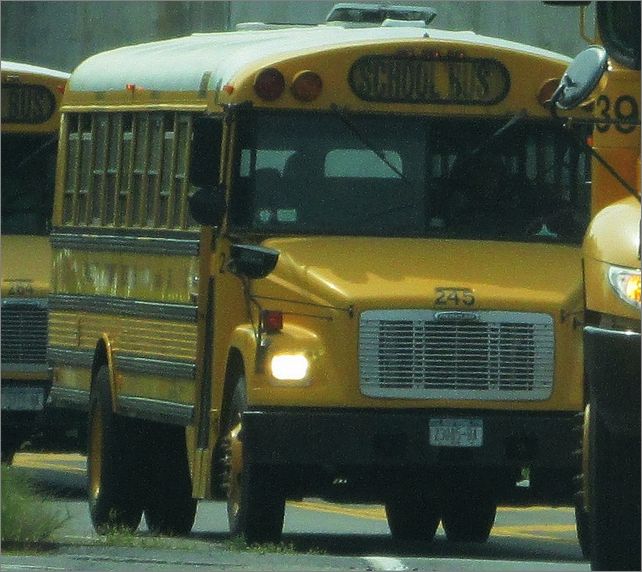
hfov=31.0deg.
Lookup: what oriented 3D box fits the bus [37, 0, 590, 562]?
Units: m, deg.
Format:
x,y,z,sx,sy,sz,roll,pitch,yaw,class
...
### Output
x,y,z,sx,sy,sz,roll,pitch,yaw,class
-0.284,-0.153,8.042,2.180,2.930,4.661,1,-3,-13,bus
